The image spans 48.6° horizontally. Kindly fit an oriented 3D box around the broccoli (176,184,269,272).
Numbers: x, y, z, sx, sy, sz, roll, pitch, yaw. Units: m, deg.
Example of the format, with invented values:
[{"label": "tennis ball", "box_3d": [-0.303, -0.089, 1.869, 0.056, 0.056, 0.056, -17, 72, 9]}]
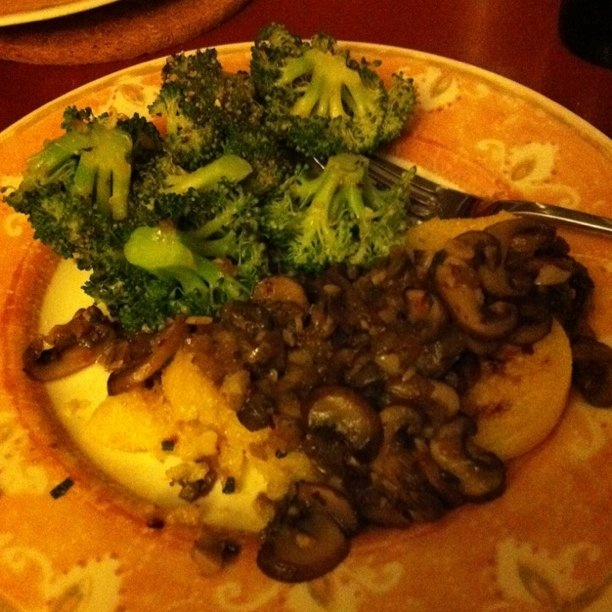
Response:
[{"label": "broccoli", "box_3d": [-0.429, -0.402, 3.415, 0.337, 0.328, 0.239, 29, 30, -17]}]
